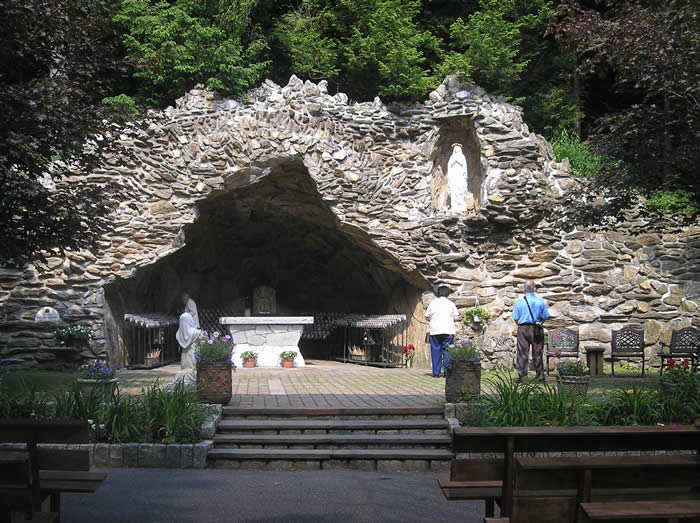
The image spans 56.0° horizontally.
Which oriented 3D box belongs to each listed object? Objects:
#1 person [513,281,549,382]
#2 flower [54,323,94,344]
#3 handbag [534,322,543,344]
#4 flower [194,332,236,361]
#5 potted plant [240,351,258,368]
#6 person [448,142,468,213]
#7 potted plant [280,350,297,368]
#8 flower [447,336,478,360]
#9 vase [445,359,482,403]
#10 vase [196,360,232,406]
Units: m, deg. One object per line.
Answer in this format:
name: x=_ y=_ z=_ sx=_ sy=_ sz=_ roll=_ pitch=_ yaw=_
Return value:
person: x=4.092 y=1.674 z=14.928 sx=0.745 sy=1.871 sz=0.575 roll=-1 pitch=-5 yaw=16
flower: x=-7.380 y=1.930 z=17.511 sx=0.555 sy=0.361 sz=0.700 roll=-1 pitch=-3 yaw=34
handbag: x=4.287 y=1.621 z=14.956 sx=0.211 sy=0.447 sz=0.084 roll=2 pitch=-5 yaw=-19
flower: x=-2.536 y=1.605 z=12.316 sx=0.655 sy=0.412 sz=0.610 roll=-1 pitch=0 yaw=2
potted plant: x=-3.046 y=2.872 z=19.449 sx=0.425 sy=0.465 sz=0.501 roll=1 pitch=-4 yaw=-5
person: x=3.411 y=-2.631 z=20.864 sx=0.649 sy=2.235 sz=0.701 roll=-1 pitch=-5 yaw=10
potted plant: x=-1.860 y=2.933 z=19.753 sx=0.504 sy=0.480 sz=0.436 roll=1 pitch=-15 yaw=-5
flower: x=2.062 y=1.608 z=12.085 sx=0.519 sy=0.374 sz=0.594 roll=1 pitch=-5 yaw=-4
vase: x=2.016 y=2.056 z=11.981 sx=0.894 sy=0.945 sz=0.676 roll=0 pitch=1 yaw=7
vase: x=-2.441 y=2.278 z=12.264 sx=0.777 sy=0.749 sz=0.763 roll=1 pitch=-9 yaw=-9
